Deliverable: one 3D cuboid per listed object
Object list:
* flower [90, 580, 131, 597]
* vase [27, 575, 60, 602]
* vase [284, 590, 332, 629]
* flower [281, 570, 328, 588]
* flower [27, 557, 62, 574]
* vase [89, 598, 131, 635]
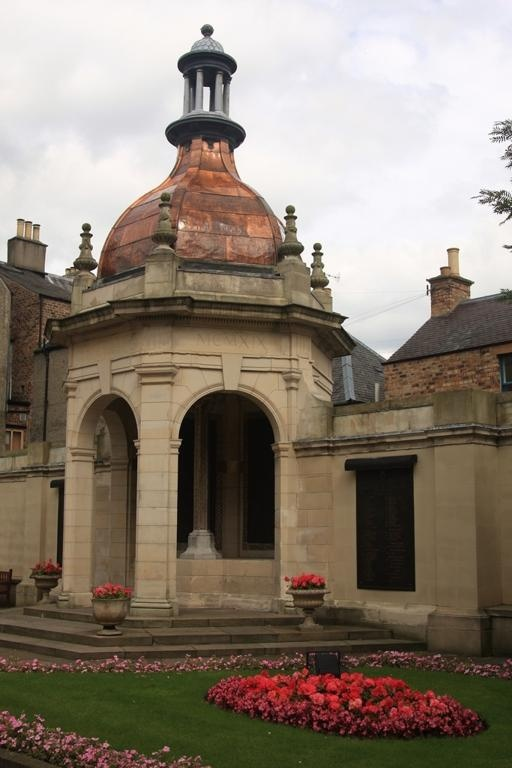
[{"bbox_3d":[-2.598,3.786,18.110,0.695,0.249,0.431,3,-11,-23],"label":"flower"},{"bbox_3d":[-5.359,5.149,25.349,0.923,0.761,0.894,3,-7,-14],"label":"vase"},{"bbox_3d":[0.934,4.286,19.492,0.879,0.758,0.891,-5,-9,41],"label":"vase"},{"bbox_3d":[0.931,3.836,19.260,0.700,0.290,0.276,-5,-11,20],"label":"flower"},{"bbox_3d":[-5.248,4.672,25.183,0.722,0.336,0.513,-1,-10,-3],"label":"flower"},{"bbox_3d":[-2.583,4.213,18.101,0.695,0.524,0.663,7,-12,-27],"label":"vase"}]
